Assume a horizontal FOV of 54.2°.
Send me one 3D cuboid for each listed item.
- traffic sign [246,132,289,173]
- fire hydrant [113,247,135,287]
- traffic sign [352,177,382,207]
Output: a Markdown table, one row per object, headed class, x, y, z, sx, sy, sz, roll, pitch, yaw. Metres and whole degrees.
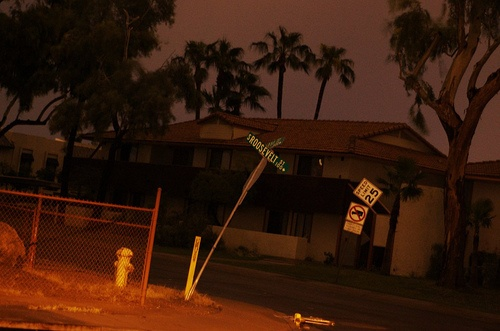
| class | x | y | z | sx | sy | sz | roll | pitch | yaw |
| --- | --- | --- | --- | --- | --- | --- | --- | --- | --- |
| traffic sign | 0.488 | -0.292 | 15.663 | 1.235 | 0.333 | 1.262 | 45 | 31 | 4 |
| fire hydrant | -4.169 | 3.380 | 16.006 | 0.680 | 1.576 | 0.507 | 9 | 14 | -22 |
| traffic sign | 5.987 | 1.318 | 24.950 | 1.176 | 1.555 | 1.198 | 6 | -11 | 13 |
